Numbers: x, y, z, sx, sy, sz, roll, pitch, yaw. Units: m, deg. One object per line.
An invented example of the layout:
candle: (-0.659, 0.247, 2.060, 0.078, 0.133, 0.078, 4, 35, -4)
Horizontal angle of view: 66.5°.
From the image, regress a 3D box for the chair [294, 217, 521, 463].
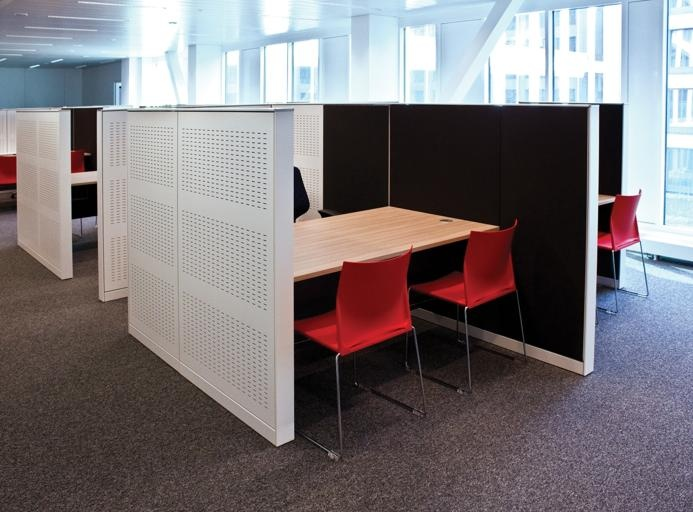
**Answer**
chair: (0.396, 0.566, 3.496, 1.267, 0.725, 0.468, -12, 18, -43)

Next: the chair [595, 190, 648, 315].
chair: (2.737, -0.164, 5.178, 0.469, 1.053, 1.512, 5, 17, 29)
